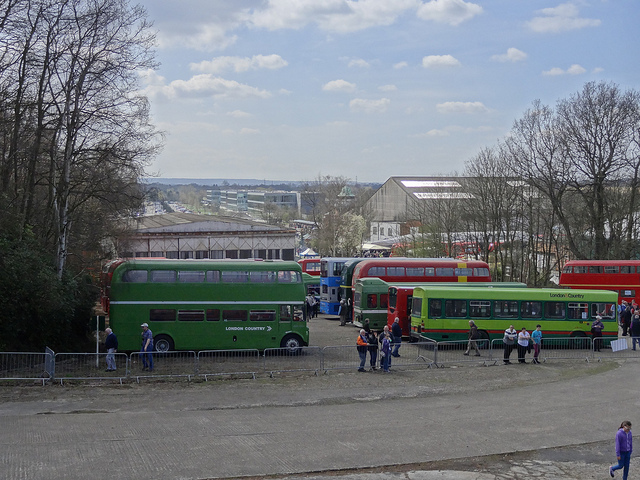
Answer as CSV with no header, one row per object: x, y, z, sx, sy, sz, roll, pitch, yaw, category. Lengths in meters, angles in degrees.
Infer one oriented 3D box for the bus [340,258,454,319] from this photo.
2.089,3.055,61.562,9.331,4.060,3.368,-2,3,-13,bus
